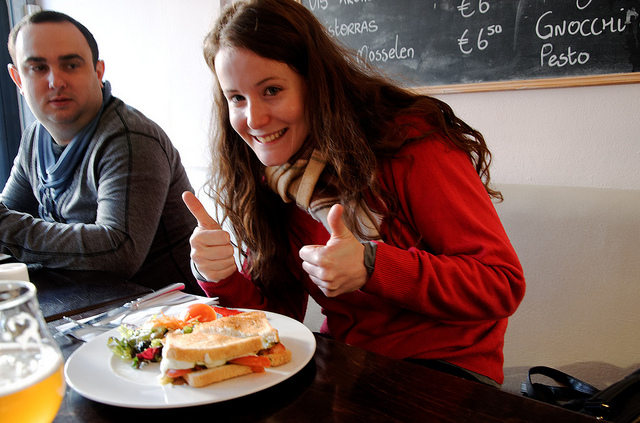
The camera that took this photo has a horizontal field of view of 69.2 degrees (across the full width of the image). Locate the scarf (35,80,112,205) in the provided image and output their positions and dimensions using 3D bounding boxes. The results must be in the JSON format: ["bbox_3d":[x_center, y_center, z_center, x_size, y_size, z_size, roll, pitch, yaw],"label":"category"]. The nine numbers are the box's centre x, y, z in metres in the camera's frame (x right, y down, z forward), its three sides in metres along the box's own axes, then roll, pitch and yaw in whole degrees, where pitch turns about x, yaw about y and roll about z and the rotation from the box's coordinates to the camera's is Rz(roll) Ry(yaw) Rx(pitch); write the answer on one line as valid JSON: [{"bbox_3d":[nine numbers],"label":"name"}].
[{"bbox_3d":[-1.178,-0.289,2.284,0.418,0.581,0.172,-8,1,3],"label":"scarf"}]

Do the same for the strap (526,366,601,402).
[{"bbox_3d":[0.827,0.569,1.567,0.279,0.075,0.159,17,-2,-33],"label":"strap"}]

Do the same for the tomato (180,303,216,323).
[{"bbox_3d":[-0.323,0.261,1.212,0.058,0.033,0.050,-2,-3,35],"label":"tomato"}]

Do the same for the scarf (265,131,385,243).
[{"bbox_3d":[0.046,-0.089,1.671,0.383,0.298,0.171,45,21,15],"label":"scarf"}]

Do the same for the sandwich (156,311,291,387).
[{"bbox_3d":[-0.230,0.315,1.067,0.194,0.062,0.150,-10,13,-6],"label":"sandwich"}]
